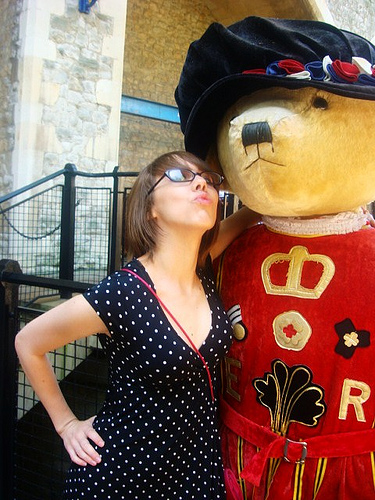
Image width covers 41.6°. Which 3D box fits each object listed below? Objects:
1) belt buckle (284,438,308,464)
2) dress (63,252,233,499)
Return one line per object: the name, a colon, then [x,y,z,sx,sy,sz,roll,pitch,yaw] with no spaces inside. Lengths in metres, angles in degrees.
belt buckle: [0.270,0.512,1.242,0.054,0.045,0.060,4,80,-2]
dress: [-0.091,0.332,1.297,0.428,0.242,0.643,3,79,-2]
